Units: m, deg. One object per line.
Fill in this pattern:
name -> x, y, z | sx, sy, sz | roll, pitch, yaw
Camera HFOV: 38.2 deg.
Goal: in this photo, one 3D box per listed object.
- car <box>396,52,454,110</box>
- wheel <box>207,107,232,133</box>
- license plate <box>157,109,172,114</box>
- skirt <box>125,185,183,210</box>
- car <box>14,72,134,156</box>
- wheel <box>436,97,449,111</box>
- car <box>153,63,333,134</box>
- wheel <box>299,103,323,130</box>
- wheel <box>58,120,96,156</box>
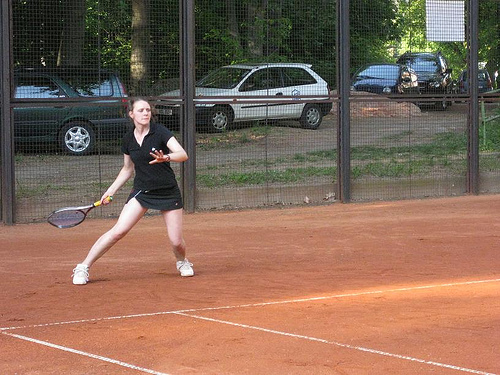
car -> 3.764, -2.484, 15.644 | 0.897, 0.770, 1.499 | 1, 4, 11
wheel -> -0.557, -1.340, 14.299 | 0.477, 0.475, 0.148 | -7, -1, 33
license plate -> -1.638, -1.476, 13.932 | 0.286, 0.089, 0.033 | 1, 9, 6
skirt -> -1.191, 0.139, 9.022 | 0.672, 0.313, 0.213 | -1, 9, -7
car -> -3.401, -1.392, 13.586 | 2.420, 1.118, 1.407 | 3, 7, -11
wheel -> 4.147, -1.780, 15.628 | 0.310, 0.220, 0.100 | -6, 11, -35
car -> -0.258, -1.850, 14.539 | 3.364, 1.211, 1.518 | -4, 6, -30
wheel -> 1.285, -1.489, 15.108 | 0.483, 0.481, 0.172 | -5, -1, -13
wheel -> -3.218, -0.913, 13.490 | 0.680, 0.668, 0.214 | -2, 9, -14
